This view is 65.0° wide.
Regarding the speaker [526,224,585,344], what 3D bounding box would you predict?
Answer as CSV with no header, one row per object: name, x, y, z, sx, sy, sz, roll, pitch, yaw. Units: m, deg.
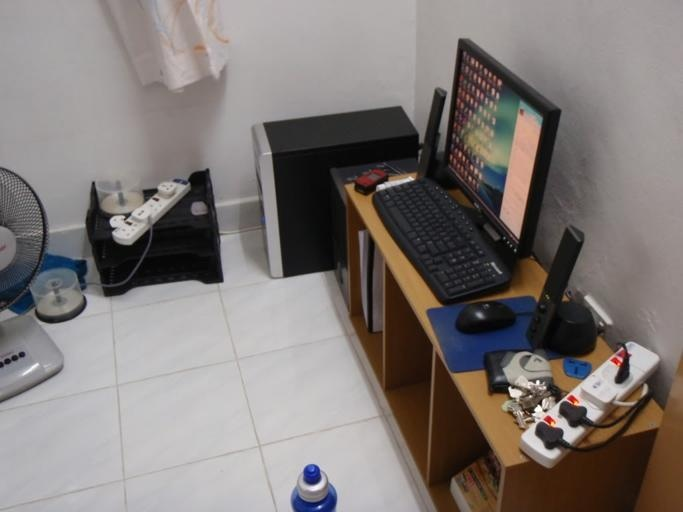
speaker,0.568,0.081,1.420,0.040,0.397,0.078,-2,38,-17
